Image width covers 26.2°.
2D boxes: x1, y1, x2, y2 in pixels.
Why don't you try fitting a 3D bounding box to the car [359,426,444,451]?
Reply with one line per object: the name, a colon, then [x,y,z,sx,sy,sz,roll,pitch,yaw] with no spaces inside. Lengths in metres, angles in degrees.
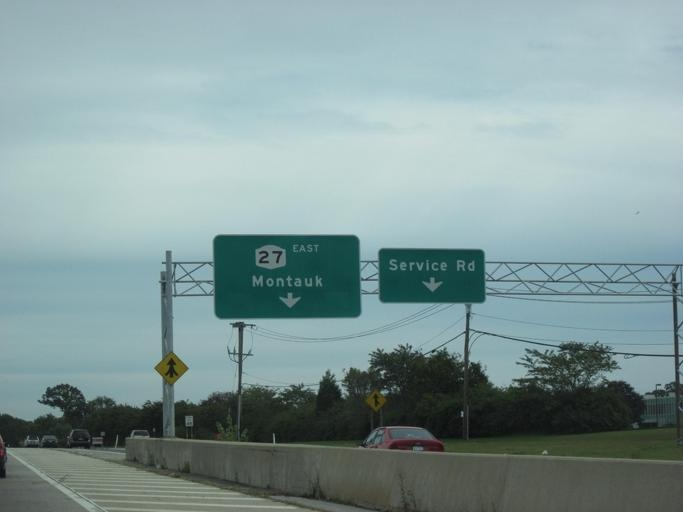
car: [3.370,10.117,80.978,4.760,1.263,2.376,-4,-5,41]
